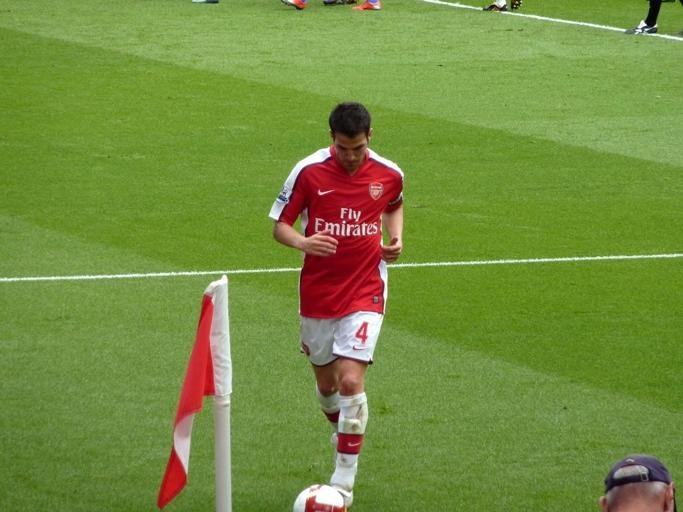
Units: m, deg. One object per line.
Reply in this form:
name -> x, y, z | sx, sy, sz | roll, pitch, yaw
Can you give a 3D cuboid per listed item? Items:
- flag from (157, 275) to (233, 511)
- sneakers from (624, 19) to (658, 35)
flag -> -0.962, 1.028, 8.684 | 0.529, 1.690, 0.596 | 7, 19, -1
sneakers -> 5.330, -4.061, 21.113 | 0.635, 0.253, 0.225 | 1, 3, 2
